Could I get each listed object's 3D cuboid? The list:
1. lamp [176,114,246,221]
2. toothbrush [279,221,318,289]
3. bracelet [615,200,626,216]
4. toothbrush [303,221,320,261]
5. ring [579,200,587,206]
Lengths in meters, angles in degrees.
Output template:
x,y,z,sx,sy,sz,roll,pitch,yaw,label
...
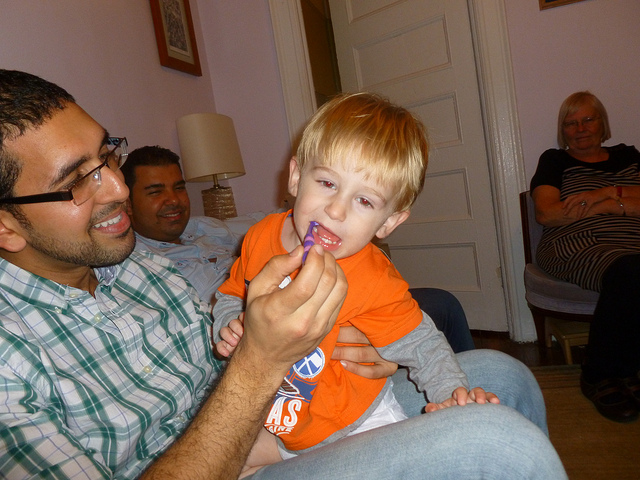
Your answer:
x,y,z,sx,sy,sz,roll,pitch,yaw,label
-0.655,-0.418,2.899,0.350,0.636,0.346,-9,1,19,lamp
-0.059,0.046,1.294,0.034,0.042,0.259,21,44,-2,toothbrush
1.682,-0.172,2.614,0.059,0.068,0.020,18,-4,-6,bracelet
-0.026,-0.001,1.313,0.019,0.019,0.121,19,53,4,toothbrush
1.493,-0.209,2.661,0.026,0.007,0.027,-8,58,12,ring
